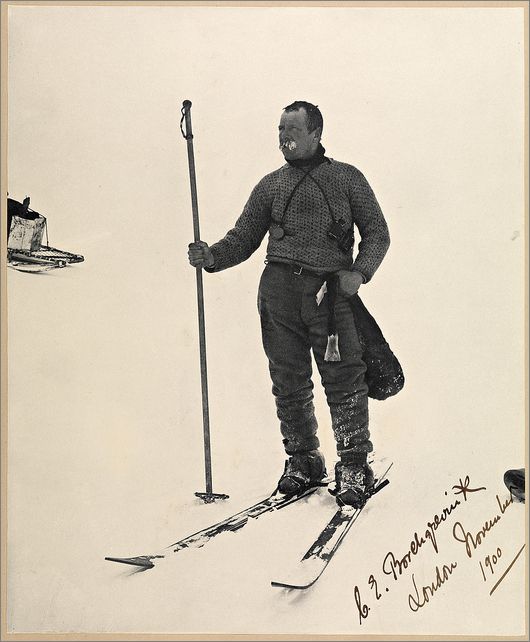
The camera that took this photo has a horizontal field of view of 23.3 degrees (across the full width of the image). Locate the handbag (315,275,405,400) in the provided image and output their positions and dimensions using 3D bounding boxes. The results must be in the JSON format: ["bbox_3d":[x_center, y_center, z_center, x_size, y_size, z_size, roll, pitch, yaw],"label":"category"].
[{"bbox_3d":[0.336,0.066,4.691,0.366,0.387,0.131,14,-26,-32],"label":"handbag"}]
